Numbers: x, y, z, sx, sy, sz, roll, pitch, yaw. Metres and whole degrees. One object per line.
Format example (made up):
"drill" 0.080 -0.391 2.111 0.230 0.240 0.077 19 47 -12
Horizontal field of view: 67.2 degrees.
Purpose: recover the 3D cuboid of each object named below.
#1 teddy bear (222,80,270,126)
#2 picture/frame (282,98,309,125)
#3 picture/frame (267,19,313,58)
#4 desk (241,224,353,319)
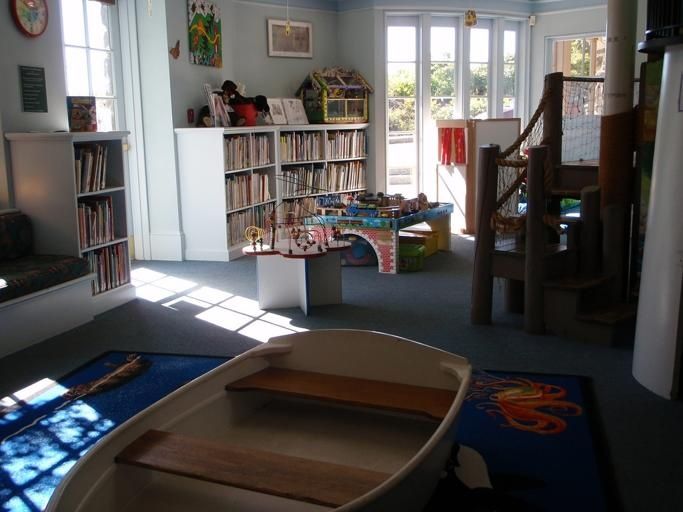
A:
"teddy bear" -1.368 -2.173 7.177 0.593 0.628 0.687 11 18 26
"picture/frame" -0.722 -2.210 7.894 0.439 0.441 0.102 -5 -8 -46
"picture/frame" -0.829 -3.418 8.116 0.822 0.560 0.031 -13 25 -35
"desk" -0.404 0.113 5.032 0.904 0.711 0.916 0 6 6
